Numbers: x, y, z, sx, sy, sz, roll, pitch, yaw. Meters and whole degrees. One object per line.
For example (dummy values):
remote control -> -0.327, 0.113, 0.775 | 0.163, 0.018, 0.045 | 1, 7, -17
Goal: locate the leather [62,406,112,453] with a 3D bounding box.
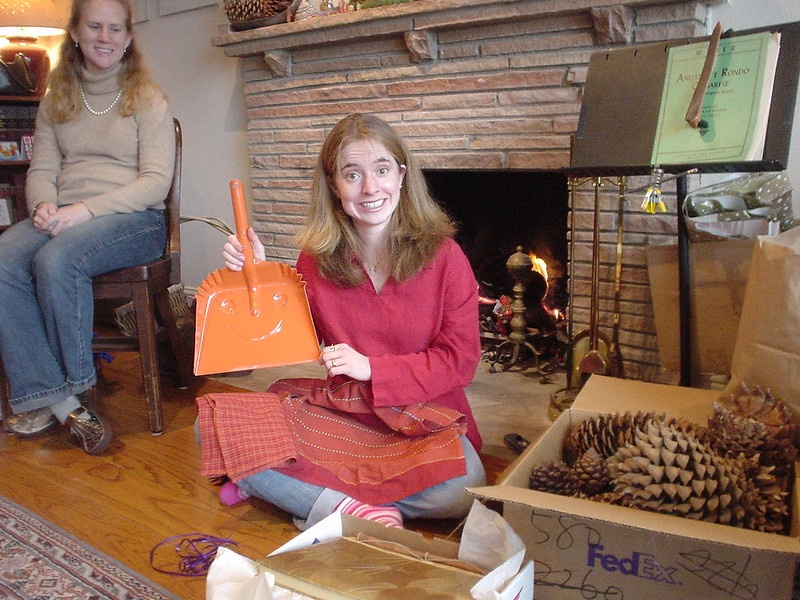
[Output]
leather -> -1.023, 0.431, 1.887 | 0.162, 0.137, 0.081 | 6, 10, 36

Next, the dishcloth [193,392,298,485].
dishcloth -> -0.394, 0.337, 1.420 | 0.261, 0.229, 0.080 | -7, -26, -16

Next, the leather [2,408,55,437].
leather -> -1.274, 0.403, 1.948 | 0.112, 0.040, 0.123 | 3, 4, 35

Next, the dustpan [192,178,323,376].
dustpan -> -0.394, -0.036, 1.457 | 0.394, 0.488, 0.086 | -6, 6, -3
